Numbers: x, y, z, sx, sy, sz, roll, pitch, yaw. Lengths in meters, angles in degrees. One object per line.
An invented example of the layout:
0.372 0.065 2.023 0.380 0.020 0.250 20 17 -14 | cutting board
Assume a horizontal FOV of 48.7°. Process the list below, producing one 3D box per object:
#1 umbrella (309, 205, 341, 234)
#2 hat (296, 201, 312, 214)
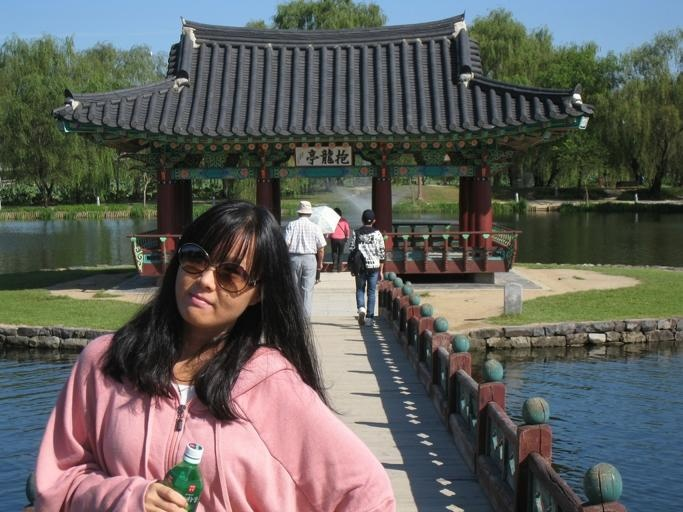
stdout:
-0.377 -0.730 15.445 0.523 0.567 0.356 -5 -28 -18 | umbrella
-0.544 -0.687 10.498 0.174 0.102 0.181 -4 9 -44 | hat
